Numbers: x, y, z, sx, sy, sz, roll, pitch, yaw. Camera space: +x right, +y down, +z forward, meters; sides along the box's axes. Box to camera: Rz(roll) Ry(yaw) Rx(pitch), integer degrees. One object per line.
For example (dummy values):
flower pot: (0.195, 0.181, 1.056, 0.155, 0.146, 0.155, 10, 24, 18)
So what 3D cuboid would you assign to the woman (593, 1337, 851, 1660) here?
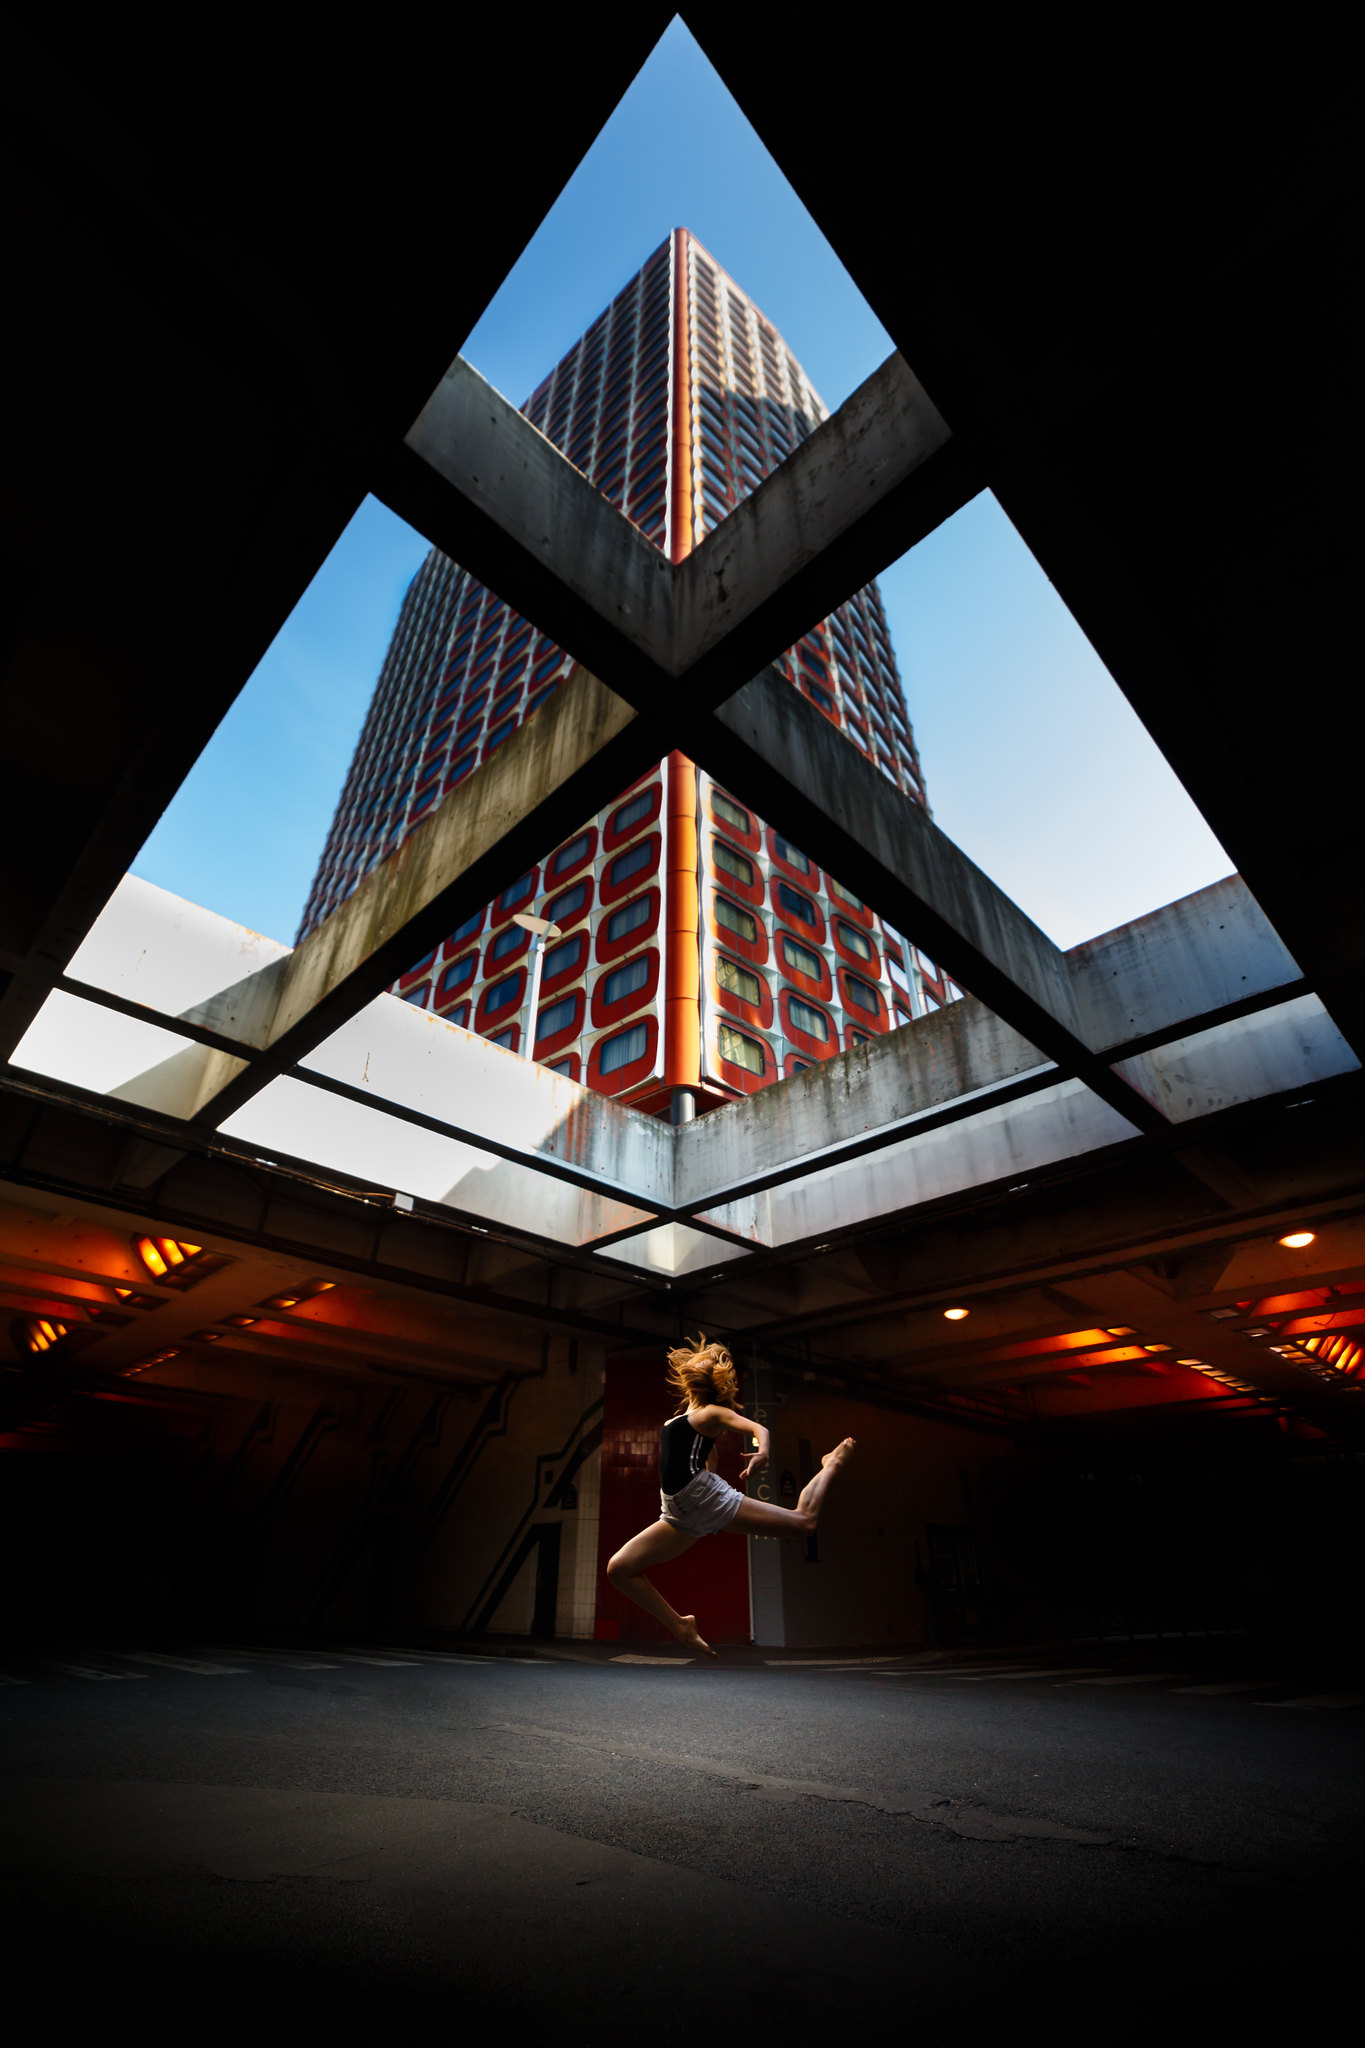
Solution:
woman: (0.296, 2.327, 5.699, 1.040, 1.481, 0.750, -6, -40, 12)
